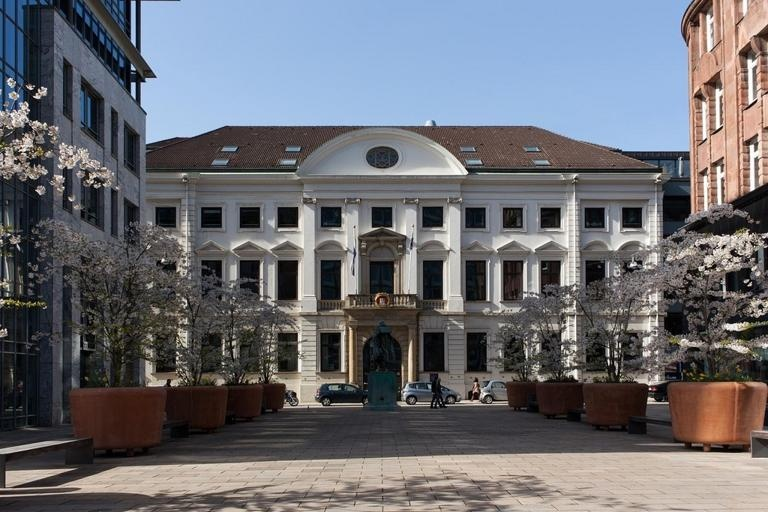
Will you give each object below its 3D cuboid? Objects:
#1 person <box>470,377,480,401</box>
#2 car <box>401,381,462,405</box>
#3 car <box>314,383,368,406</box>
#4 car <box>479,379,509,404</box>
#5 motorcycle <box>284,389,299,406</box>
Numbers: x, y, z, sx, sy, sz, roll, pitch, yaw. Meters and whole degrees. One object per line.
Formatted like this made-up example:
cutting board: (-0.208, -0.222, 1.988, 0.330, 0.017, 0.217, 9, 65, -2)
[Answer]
person: (5.325, 7.609, 69.239, 0.611, 1.412, 1.310, -1, -11, 3)
car: (2.595, 7.512, 66.156, 2.590, 0.915, 1.345, -2, -6, -6)
car: (-2.232, 7.490, 65.559, 2.386, 0.880, 1.274, -2, -6, 0)
car: (6.251, 7.590, 67.516, 1.395, 1.325, 1.826, 2, -11, -14)
motorcycle: (-5.141, 7.822, 66.345, 1.222, 0.679, 0.711, -8, -8, 22)
